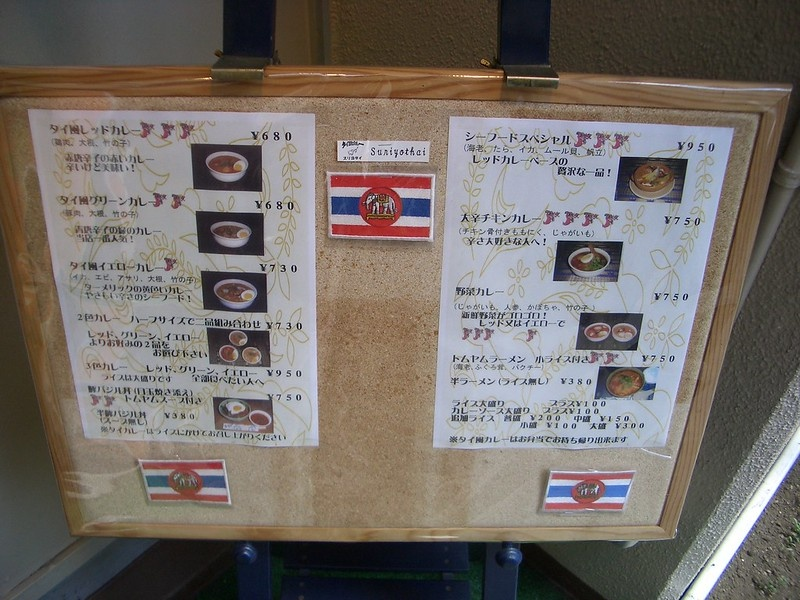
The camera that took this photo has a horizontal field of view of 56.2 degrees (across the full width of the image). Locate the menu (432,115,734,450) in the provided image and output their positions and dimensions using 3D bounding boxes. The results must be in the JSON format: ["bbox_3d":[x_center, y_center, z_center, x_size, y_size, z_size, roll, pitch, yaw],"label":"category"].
[{"bbox_3d":[0.324,-0.058,1.350,0.624,0.747,0.017,2,18,-5],"label":"menu"}]
